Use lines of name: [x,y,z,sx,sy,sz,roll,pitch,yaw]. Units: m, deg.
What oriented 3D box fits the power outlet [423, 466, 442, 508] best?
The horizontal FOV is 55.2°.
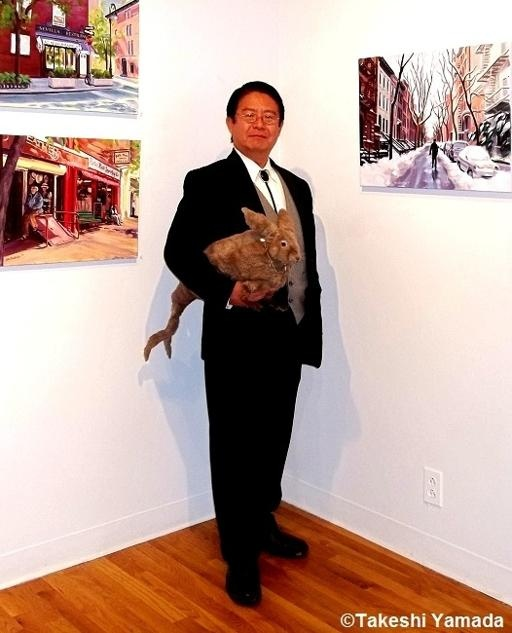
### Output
power outlet: [0.642,0.622,1.783,0.065,0.138,0.013,3,7,40]
